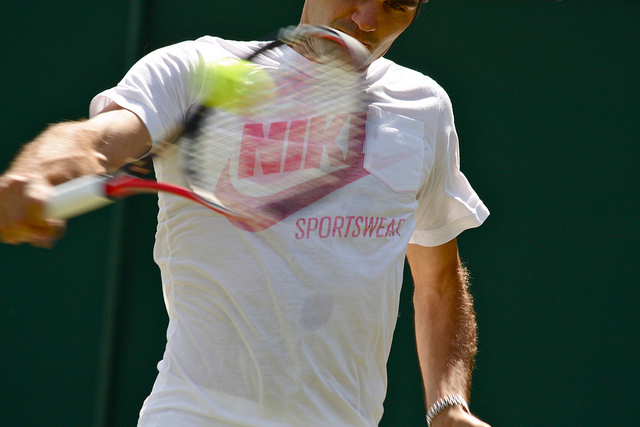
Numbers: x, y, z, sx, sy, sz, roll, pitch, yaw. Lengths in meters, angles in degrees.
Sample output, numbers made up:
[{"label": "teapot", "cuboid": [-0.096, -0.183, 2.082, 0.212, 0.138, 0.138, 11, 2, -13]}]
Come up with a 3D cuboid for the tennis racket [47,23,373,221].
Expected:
[{"label": "tennis racket", "cuboid": [-0.314, -0.254, 3.700, 1.133, 0.649, 0.190, -25, 18, -22]}]
